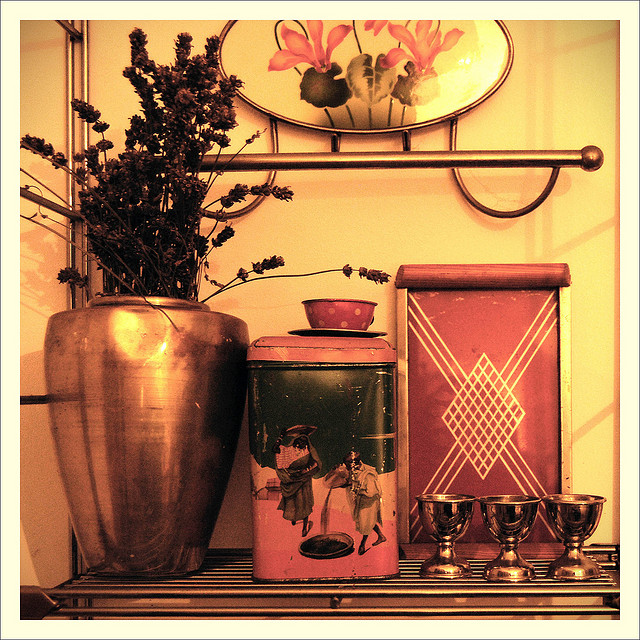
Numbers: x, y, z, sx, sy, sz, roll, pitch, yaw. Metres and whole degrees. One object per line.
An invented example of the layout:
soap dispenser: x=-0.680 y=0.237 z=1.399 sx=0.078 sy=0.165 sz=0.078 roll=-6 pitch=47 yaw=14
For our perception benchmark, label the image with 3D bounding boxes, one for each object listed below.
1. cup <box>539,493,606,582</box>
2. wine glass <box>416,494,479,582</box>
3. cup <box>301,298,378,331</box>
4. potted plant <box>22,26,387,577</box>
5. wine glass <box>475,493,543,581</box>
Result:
cup: x=0.418 y=0.366 z=2.075 sx=0.113 sy=0.118 sz=0.117 roll=-2 pitch=-5 yaw=0
wine glass: x=0.201 y=0.366 z=2.088 sx=0.130 sy=0.131 sz=0.130 roll=-9 pitch=-15 yaw=24
cup: x=0.034 y=-0.009 z=2.117 sx=0.087 sy=0.059 sz=0.088 roll=1 pitch=-4 yaw=0
potted plant: x=-0.210 y=-0.008 z=2.121 sx=0.555 sy=0.814 sz=0.577 roll=5 pitch=-2 yaw=40
wine glass: x=0.298 y=0.349 z=2.037 sx=0.131 sy=0.130 sz=0.127 roll=2 pitch=-14 yaw=-2
